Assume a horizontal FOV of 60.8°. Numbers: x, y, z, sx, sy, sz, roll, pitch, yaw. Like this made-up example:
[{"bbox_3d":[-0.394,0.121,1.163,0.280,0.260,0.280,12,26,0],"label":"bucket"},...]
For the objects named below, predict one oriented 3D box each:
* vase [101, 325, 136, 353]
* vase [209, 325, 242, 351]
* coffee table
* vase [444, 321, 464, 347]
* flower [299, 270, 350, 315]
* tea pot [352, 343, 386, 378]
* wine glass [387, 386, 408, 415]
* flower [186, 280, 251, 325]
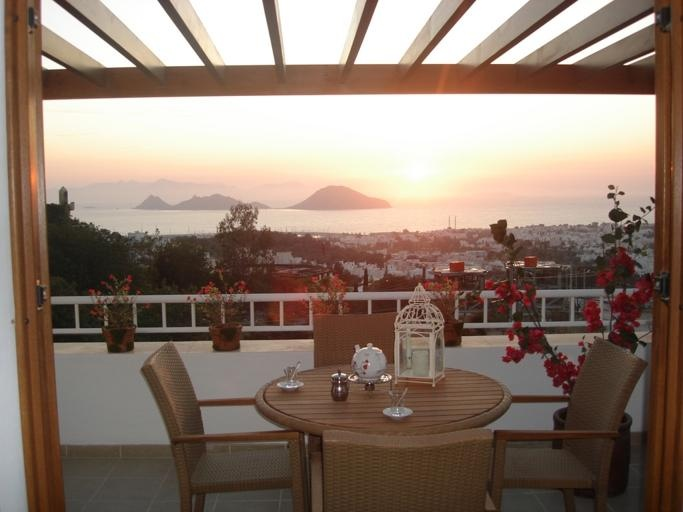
[{"bbox_3d":[-1.713,0.622,4.453,0.210,0.163,0.210,0,0,-5],"label":"vase"},{"bbox_3d":[-0.900,0.631,4.577,0.203,0.153,0.204,0,-2,1],"label":"vase"},{"bbox_3d":[0.193,0.828,2.709,0.852,0.547,0.817,1,13,9],"label":"coffee table"},{"bbox_3d":[0.893,0.603,4.599,0.225,0.192,0.098,-4,4,-31],"label":"vase"},{"bbox_3d":[-0.117,0.321,4.717,0.297,0.299,0.510,-2,3,0],"label":"flower"},{"bbox_3d":[0.149,0.582,3.272,0.188,0.180,0.186,0,-4,0],"label":"tea pot"},{"bbox_3d":[0.285,0.737,2.953,0.071,0.129,0.127,1,2,6],"label":"wine glass"},{"bbox_3d":[-1.001,0.388,4.726,0.475,0.384,0.564,-3,4,-17],"label":"flower"}]
